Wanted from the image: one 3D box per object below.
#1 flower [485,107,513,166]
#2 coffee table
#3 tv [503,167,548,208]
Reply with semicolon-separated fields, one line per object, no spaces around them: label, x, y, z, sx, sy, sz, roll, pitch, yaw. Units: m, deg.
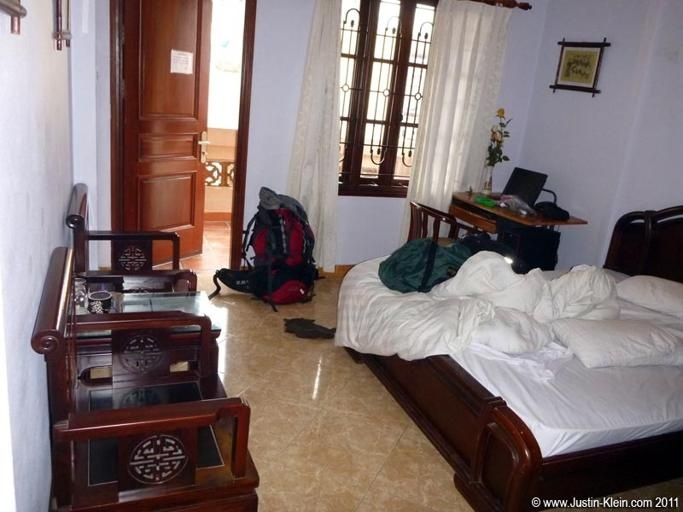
flower;1.572;-1.167;4.886;0.224;0.582;0.533;6;16;18
coffee table;-0.793;0.281;2.099;0.347;0.200;0.463;0;11;-12
tv;1.791;-0.690;4.770;0.095;0.394;0.408;19;12;-41
